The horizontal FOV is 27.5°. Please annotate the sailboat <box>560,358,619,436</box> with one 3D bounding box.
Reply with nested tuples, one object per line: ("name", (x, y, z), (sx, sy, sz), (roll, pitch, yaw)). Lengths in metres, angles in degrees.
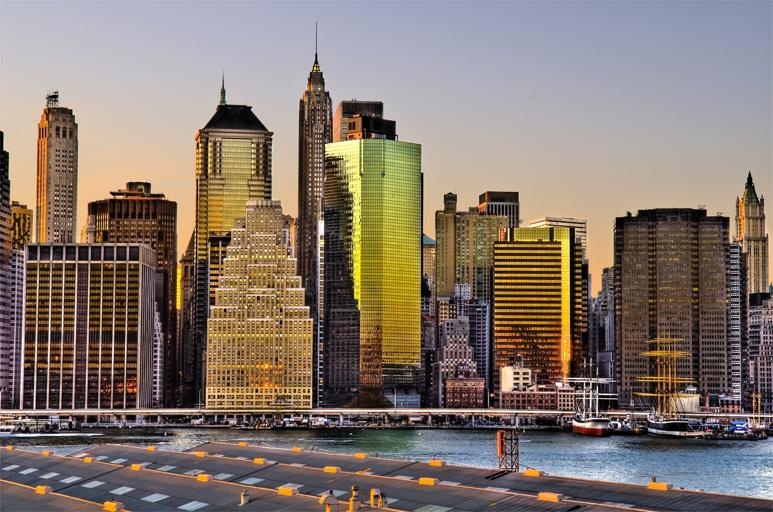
("sailboat", (61.720, 40.438, 470.625), (17.822, 15.542, 30.059), (3, 14, 2))
